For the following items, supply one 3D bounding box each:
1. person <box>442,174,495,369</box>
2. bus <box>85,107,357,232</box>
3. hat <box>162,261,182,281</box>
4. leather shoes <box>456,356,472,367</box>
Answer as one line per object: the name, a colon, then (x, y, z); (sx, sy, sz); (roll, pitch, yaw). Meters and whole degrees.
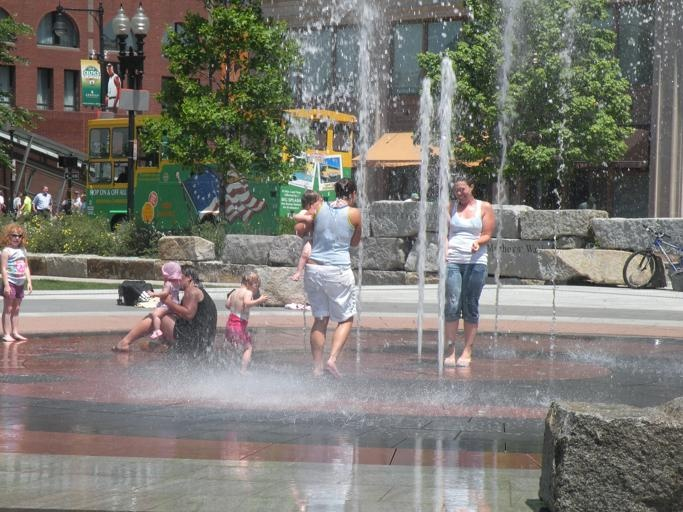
person: (2.373, 0.356, 27.377); (0.920, 3.587, 0.520); (-1, 5, 5)
bus: (-4.657, -2.179, 44.317); (6.854, 3.833, 4.107); (4, 4, 22)
hat: (-3.312, 0.339, 27.838); (0.356, 0.311, 0.307); (-4, 24, -16)
leather shoes: (2.325, 2.053, 27.474); (0.227, 0.247, 0.149); (3, -2, 40)
